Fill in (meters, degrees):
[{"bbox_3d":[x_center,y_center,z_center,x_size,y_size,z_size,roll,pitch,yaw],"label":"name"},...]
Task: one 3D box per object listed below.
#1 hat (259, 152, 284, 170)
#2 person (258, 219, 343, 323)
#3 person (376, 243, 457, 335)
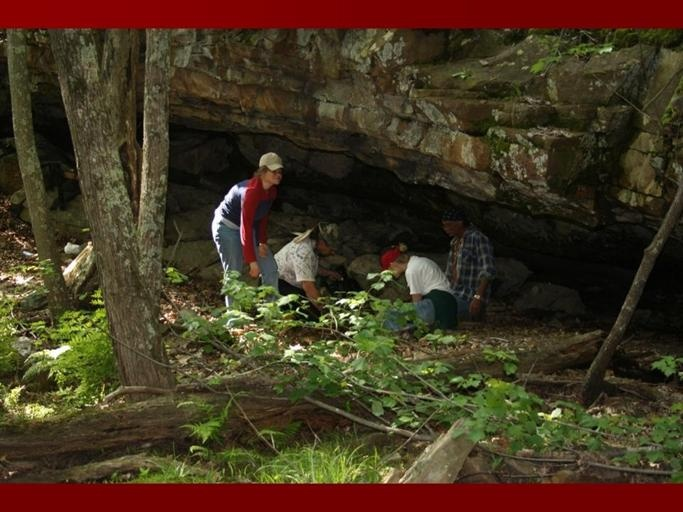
[{"bbox_3d":[-0.888,-1.129,7.714,0.380,0.159,0.280,5,8,41],"label":"hat"},{"bbox_3d":[-0.530,0.219,8.625,1.275,1.423,0.751,10,55,-13],"label":"person"},{"bbox_3d":[0.882,0.349,8.250,1.022,0.916,1.009,-8,1,12],"label":"person"}]
